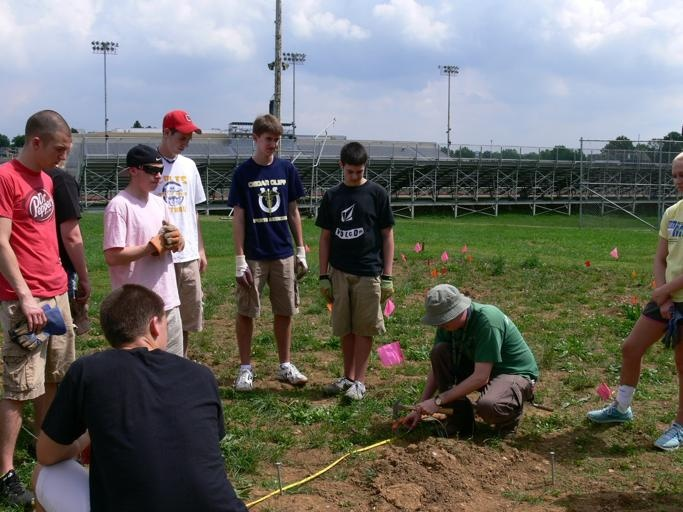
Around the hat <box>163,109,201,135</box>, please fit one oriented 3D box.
[{"bbox_3d":[-1.678,-1.397,7.250,0.401,0.230,0.194,4,13,20],"label":"hat"}]

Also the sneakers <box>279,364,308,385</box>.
[{"bbox_3d":[-0.577,1.390,8.180,0.405,0.196,0.166,6,9,40],"label":"sneakers"}]

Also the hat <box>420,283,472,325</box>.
[{"bbox_3d":[1.021,0.492,6.651,0.501,0.394,0.268,-2,12,-7],"label":"hat"}]

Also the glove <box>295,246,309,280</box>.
[{"bbox_3d":[-0.478,0.083,8.209,0.110,0.335,0.240,-3,9,-3],"label":"glove"}]

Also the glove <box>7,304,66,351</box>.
[{"bbox_3d":[-2.549,0.624,5.833,0.342,0.364,0.166,37,-22,-2],"label":"glove"}]

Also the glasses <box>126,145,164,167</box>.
[{"bbox_3d":[-1.848,-0.932,6.424,0.239,0.180,0.234,9,19,9],"label":"glasses"}]

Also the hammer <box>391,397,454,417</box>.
[{"bbox_3d":[0.781,1.537,6.898,0.381,0.172,0.260,1,-27,9],"label":"hammer"}]

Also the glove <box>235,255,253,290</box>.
[{"bbox_3d":[-1.104,0.173,7.784,0.145,0.385,0.192,11,17,42],"label":"glove"}]

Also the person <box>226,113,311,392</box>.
[{"bbox_3d":[-0.865,-0.041,8.009,1.015,3.119,0.766,-7,14,-28],"label":"person"}]

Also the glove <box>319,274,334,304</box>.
[{"bbox_3d":[-0.170,0.383,7.888,0.141,0.284,0.212,-8,4,7],"label":"glove"}]

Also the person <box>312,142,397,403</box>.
[{"bbox_3d":[0.130,0.151,7.781,0.858,2.795,0.807,2,12,12],"label":"person"}]

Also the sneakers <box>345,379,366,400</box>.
[{"bbox_3d":[0.148,1.490,7.667,0.220,0.162,0.286,1,13,7],"label":"sneakers"}]

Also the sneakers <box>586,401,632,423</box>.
[{"bbox_3d":[2.756,1.608,7.121,0.511,0.244,0.192,1,2,6],"label":"sneakers"}]

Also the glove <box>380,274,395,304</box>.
[{"bbox_3d":[0.548,0.402,7.899,0.161,0.295,0.211,2,0,7],"label":"glove"}]
